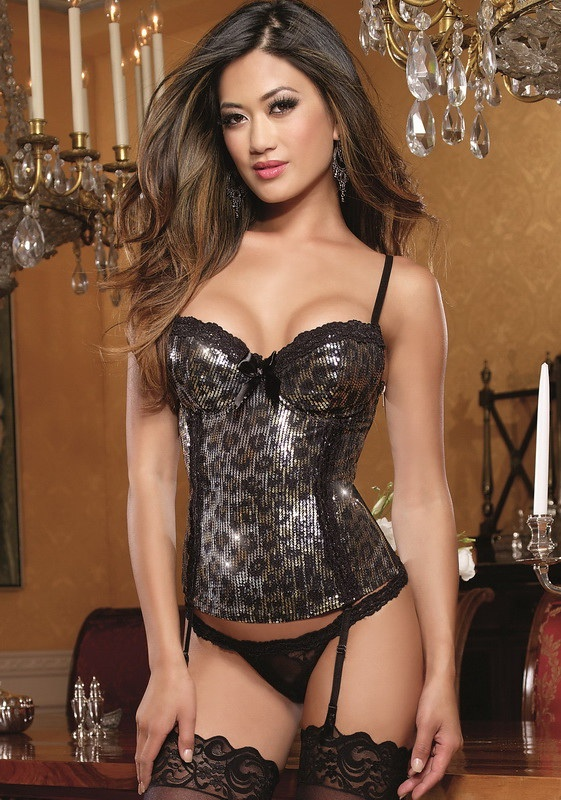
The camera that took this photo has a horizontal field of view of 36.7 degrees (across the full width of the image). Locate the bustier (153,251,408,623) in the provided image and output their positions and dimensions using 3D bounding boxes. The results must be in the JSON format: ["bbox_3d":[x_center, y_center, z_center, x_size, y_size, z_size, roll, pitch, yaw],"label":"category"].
[{"bbox_3d":[0.011,0.083,1.164,0.335,0.402,0.205,1,7,-8],"label":"bustier"}]
